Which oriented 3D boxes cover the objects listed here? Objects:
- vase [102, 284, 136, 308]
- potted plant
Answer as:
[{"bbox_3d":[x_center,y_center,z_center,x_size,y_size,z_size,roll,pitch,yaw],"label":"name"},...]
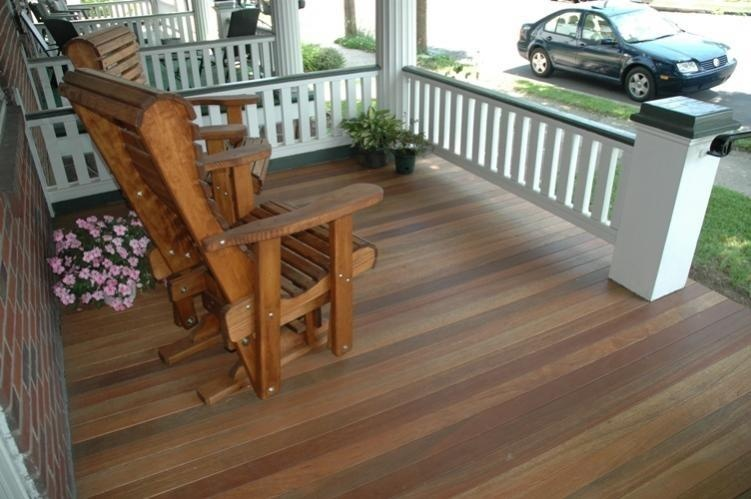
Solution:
[{"bbox_3d":[-1.564,0.282,3.094,0.209,0.176,0.092,-6,32,-40],"label":"vase"},{"bbox_3d":[0.110,-0.974,4.896,0.829,0.472,0.712,-9,44,-21],"label":"potted plant"}]
